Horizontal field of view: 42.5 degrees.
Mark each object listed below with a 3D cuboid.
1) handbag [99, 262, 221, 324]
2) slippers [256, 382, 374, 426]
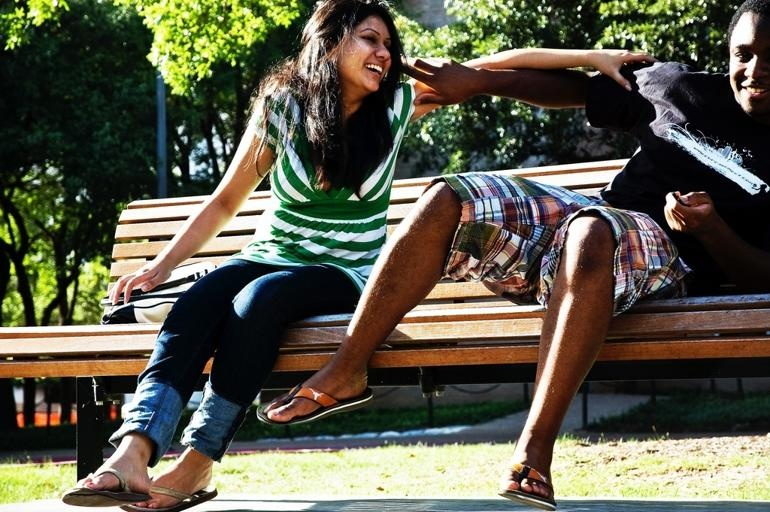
[{"bbox_3d":[-1.335,0.245,5.792,0.465,0.159,0.458,-6,10,21],"label":"handbag"},{"bbox_3d":[-0.353,0.754,5.105,0.573,0.159,0.233,-6,2,-14],"label":"slippers"}]
